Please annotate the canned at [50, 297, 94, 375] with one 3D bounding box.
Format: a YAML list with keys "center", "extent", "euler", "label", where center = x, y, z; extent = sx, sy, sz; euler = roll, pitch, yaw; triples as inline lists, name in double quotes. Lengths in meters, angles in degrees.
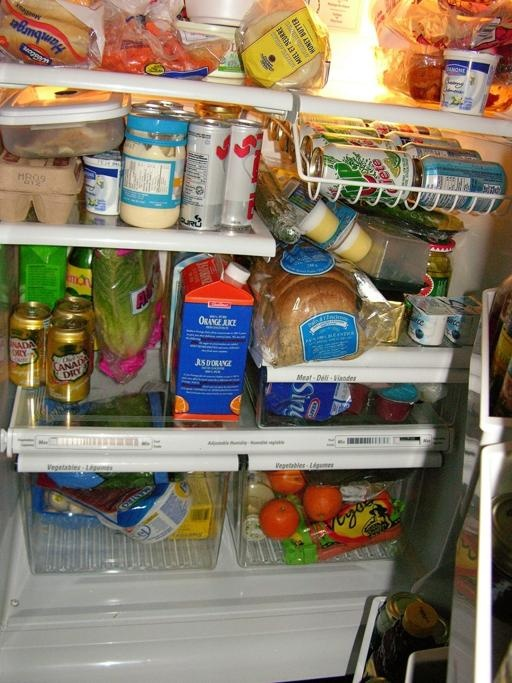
- center: [-0.345, 0.006, 0.984]
  extent: [0.095, 0.153, 0.087]
  euler: [-7, 51, -22]
  label: "canned"

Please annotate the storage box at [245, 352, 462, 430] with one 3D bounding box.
- center: [0.203, 0.097, 1.000]
  extent: [0.408, 0.161, 0.072]
  euler: [-2, 26, -11]
  label: "storage box"

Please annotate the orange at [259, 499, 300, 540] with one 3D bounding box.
- center: [0.046, 0.368, 1.140]
  extent: [0.085, 0.080, 0.083]
  euler: [12, 15, 6]
  label: "orange"

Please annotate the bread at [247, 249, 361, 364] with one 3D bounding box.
- center: [0.097, -0.077, 0.970]
  extent: [0.213, 0.097, 0.280]
  euler: [-6, 27, -5]
  label: "bread"

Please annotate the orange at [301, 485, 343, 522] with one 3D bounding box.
- center: [0.139, 0.332, 1.135]
  extent: [0.086, 0.076, 0.080]
  euler: [1, 35, -2]
  label: "orange"

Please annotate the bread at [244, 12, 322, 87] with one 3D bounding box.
- center: [0.041, -0.448, 0.817]
  extent: [0.098, 0.115, 0.042]
  euler: [42, 26, -27]
  label: "bread"

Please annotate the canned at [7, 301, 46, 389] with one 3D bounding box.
- center: [-0.414, 0.005, 0.941]
  extent: [0.097, 0.163, 0.093]
  euler: [1, 32, -22]
  label: "canned"

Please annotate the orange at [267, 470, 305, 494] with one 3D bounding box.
- center: [0.069, 0.287, 1.091]
  extent: [0.064, 0.057, 0.061]
  euler: [0, 4, -2]
  label: "orange"

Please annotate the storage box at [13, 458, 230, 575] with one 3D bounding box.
- center: [-0.256, 0.307, 1.089]
  extent: [0.432, 0.256, 0.224]
  euler: [2, 29, -9]
  label: "storage box"

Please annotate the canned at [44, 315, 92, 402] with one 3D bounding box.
- center: [-0.337, 0.025, 0.932]
  extent: [0.093, 0.155, 0.089]
  euler: [-3, 35, -20]
  label: "canned"
